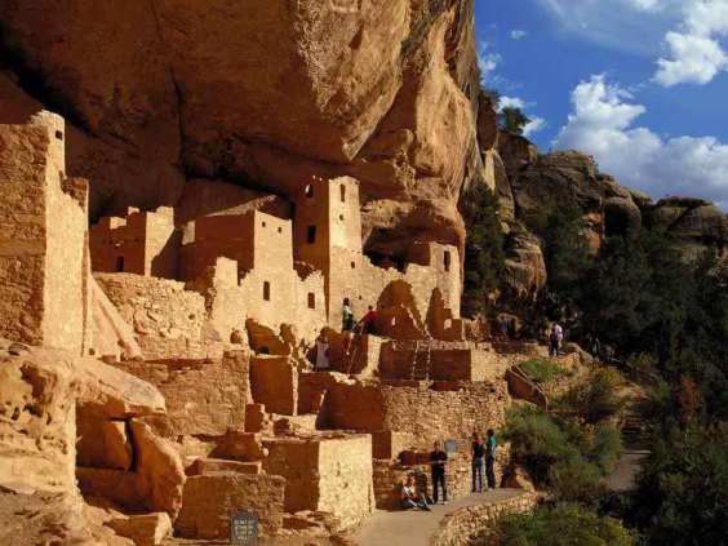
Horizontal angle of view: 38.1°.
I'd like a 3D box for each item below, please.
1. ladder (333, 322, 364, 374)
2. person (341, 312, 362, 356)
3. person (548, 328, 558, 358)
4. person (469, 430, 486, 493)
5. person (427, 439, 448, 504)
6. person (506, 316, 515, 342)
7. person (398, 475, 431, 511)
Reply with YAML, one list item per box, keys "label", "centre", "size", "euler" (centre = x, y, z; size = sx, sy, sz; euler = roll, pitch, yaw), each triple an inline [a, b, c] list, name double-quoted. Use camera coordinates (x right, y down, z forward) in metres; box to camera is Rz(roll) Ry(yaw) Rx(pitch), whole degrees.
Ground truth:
- label: "ladder"
  centre: [-0.429, 2.429, 32.008]
  size: [0.874, 1.618, 1.654]
  euler: [1, -7, 22]
- label: "person"
  centre: [-0.443, 1.786, 32.360]
  size: [0.496, 1.185, 0.453]
  euler: [7, 3, 16]
- label: "person"
  centre: [7.042, 2.557, 39.373]
  size: [0.357, 1.109, 1.112]
  euler: [6, 0, 10]
- label: "person"
  centre: [2.930, 4.840, 27.046]
  size: [0.434, 1.545, 1.015]
  euler: [6, 0, 7]
- label: "person"
  centre: [1.811, 4.871, 25.734]
  size: [0.503, 1.512, 0.756]
  euler: [6, 0, 13]
- label: "person"
  centre: [6.199, 2.339, 44.464]
  size: [0.350, 0.937, 1.266]
  euler: [6, 0, 9]
- label: "person"
  centre: [1.191, 5.278, 25.273]
  size: [0.526, 0.765, 0.723]
  euler: [2, -3, -44]
